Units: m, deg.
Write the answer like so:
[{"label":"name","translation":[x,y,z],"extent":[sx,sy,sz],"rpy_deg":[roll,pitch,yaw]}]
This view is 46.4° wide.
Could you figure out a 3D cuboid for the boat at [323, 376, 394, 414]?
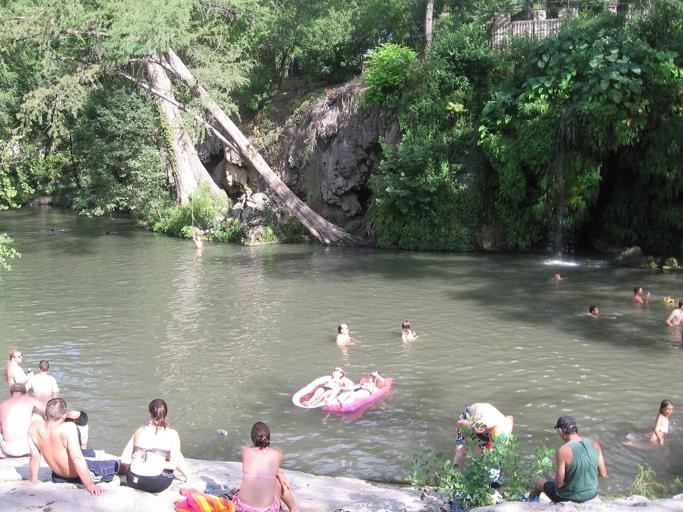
[{"label":"boat","translation":[0.587,4.105,22.550],"extent":[1.415,0.264,0.804],"rpy_deg":[-24,12,-36]}]

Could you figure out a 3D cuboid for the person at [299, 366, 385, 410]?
[{"label":"person","translation":[0.110,3.906,22.694],"extent":[1.303,0.537,1.576],"rpy_deg":[7,12,33]}]

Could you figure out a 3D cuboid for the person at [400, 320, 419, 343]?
[{"label":"person","translation":[2.240,2.688,27.093],"extent":[0.340,0.414,0.879],"rpy_deg":[-5,-37,13]}]

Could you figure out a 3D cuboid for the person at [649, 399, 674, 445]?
[{"label":"person","translation":[8.372,4.190,20.883],"extent":[0.418,1.053,1.301],"rpy_deg":[6,15,27]}]

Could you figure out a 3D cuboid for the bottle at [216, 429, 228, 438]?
[{"label":"bottle","translation":[-3.152,4.675,21.060],"extent":[0.265,0.174,0.391],"rpy_deg":[-3,14,-10]}]

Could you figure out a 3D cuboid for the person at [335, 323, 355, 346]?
[{"label":"person","translation":[0.081,2.535,26.904],"extent":[0.614,0.694,1.301],"rpy_deg":[-1,14,-1]}]

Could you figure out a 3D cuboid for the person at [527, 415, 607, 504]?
[{"label":"person","translation":[5.043,4.557,17.536],"extent":[1.462,1.810,0.922],"rpy_deg":[2,13,11]}]
